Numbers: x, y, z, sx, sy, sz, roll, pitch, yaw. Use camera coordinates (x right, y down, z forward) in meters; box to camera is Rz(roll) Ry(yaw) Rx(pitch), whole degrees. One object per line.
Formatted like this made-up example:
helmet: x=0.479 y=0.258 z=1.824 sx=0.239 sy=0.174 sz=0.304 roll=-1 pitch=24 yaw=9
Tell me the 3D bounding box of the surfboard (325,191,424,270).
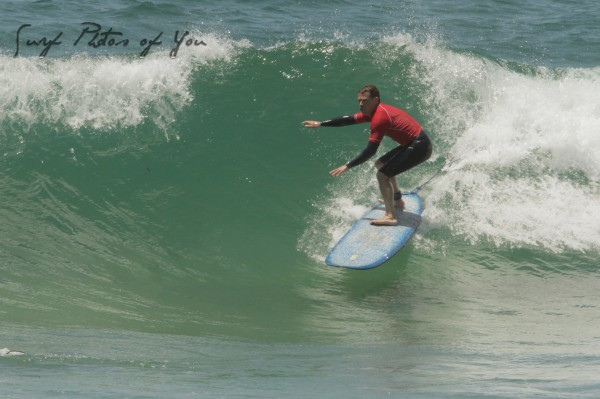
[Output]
surfboard: x=1.839 y=0.686 z=19.264 sx=0.951 sy=0.317 sz=2.729 roll=23 pitch=41 yaw=30
